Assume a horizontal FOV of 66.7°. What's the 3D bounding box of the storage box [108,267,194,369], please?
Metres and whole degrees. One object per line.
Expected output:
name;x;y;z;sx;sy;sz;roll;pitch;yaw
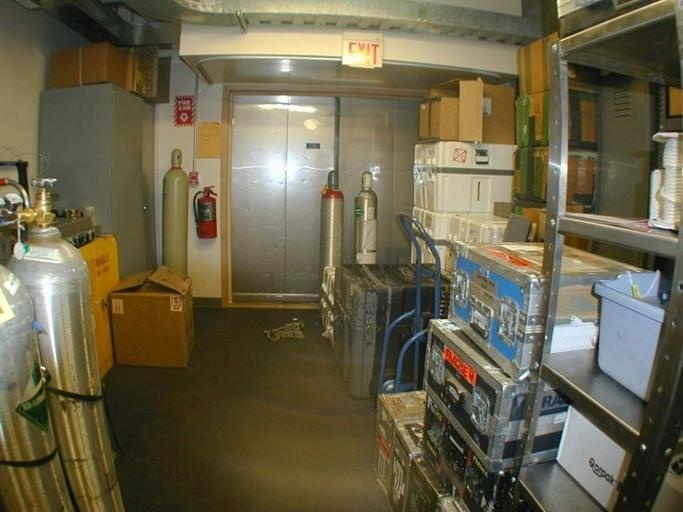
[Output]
storage box;-1.435;0.506;3.876;0.670;0.876;0.635;3;8;-3

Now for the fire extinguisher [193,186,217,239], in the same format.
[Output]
fire extinguisher;-1.384;-0.420;5.248;0.249;0.544;0.184;-2;10;-7

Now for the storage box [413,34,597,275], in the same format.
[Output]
storage box;1.326;-1.091;5.042;1.296;2.298;1.444;1;12;-8

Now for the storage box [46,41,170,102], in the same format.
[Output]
storage box;-1.985;-1.600;4.697;1.009;0.540;0.367;13;11;18
